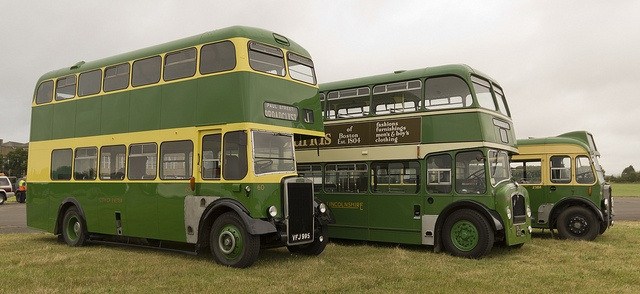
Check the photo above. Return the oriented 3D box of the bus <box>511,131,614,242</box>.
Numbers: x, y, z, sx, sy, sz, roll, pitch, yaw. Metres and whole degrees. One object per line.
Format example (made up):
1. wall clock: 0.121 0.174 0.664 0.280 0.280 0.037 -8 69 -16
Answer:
1. bus: 13.190 2.473 22.109 6.929 4.327 4.171 -2 2 25
